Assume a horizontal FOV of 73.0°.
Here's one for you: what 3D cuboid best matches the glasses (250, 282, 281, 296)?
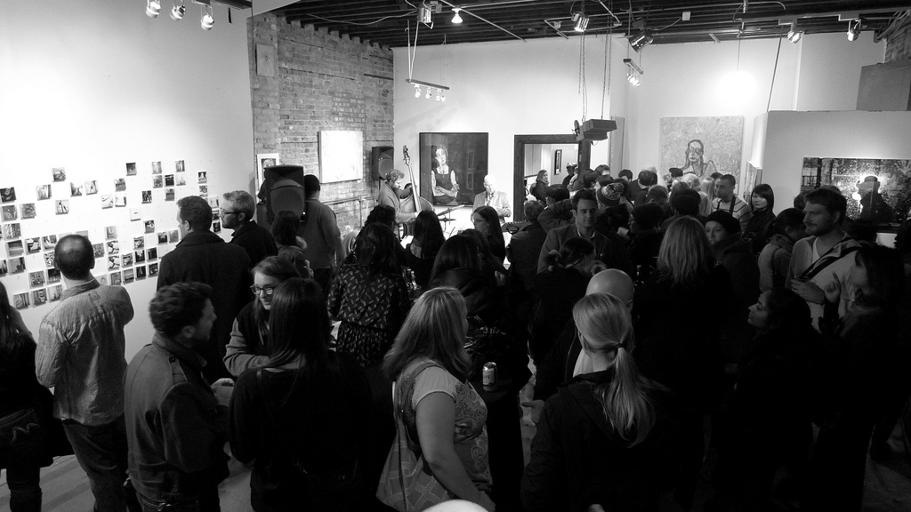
[{"bbox_3d":[-1.597,0.272,5.239,0.207,0.062,0.211,0,8,3],"label":"glasses"}]

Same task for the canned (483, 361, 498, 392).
[{"bbox_3d":[0.314,1.041,5.397,0.141,0.223,0.135,-2,12,-9],"label":"canned"}]

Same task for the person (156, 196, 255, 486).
[{"bbox_3d":[-2.619,0.476,6.410,0.723,2.150,0.901,-2,-6,41],"label":"person"}]

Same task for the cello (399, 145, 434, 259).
[{"bbox_3d":[-0.906,-1.406,13.317,0.579,2.902,0.722,2,-4,4],"label":"cello"}]
